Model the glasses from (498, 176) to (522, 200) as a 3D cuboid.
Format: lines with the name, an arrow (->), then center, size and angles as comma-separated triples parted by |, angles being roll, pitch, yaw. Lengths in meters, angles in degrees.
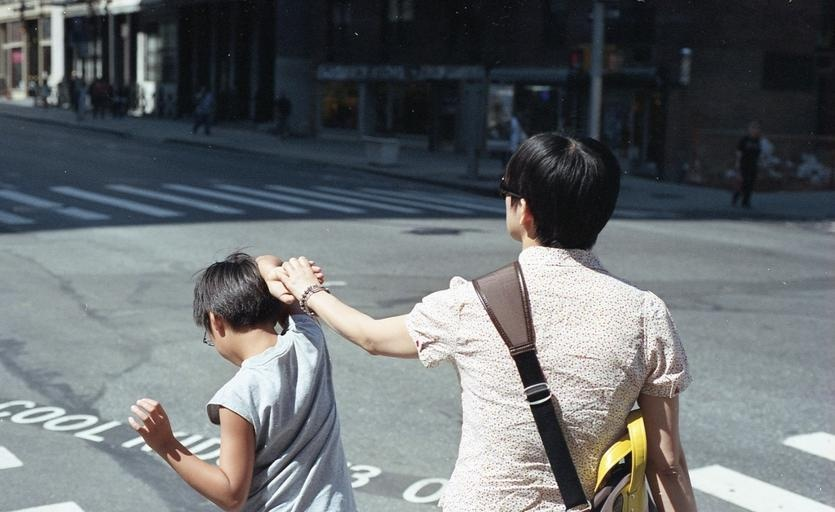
glasses -> 0.431, -0.323, 4.083 | 0.092, 0.031, 0.095 | 16, 9, -1

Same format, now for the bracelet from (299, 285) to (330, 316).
bracelet -> -0.541, 0.201, 4.350 | 0.124, 0.159, 0.055 | -5, 19, -10
